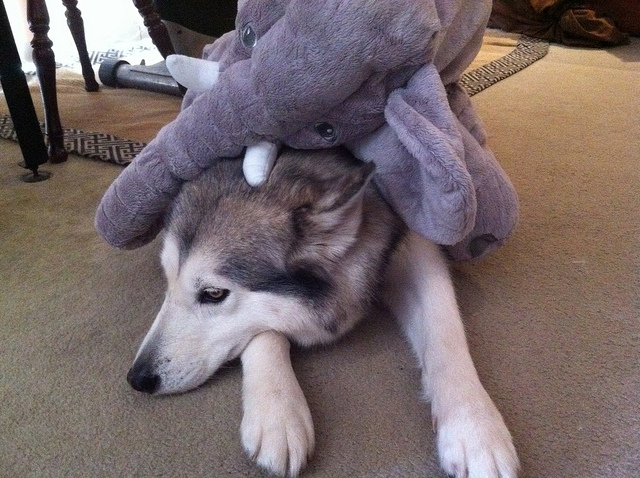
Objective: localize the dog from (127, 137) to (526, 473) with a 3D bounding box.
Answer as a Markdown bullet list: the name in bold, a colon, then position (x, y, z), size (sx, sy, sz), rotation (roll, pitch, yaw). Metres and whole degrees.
- **dog**: position (0.009, 0.137, 1.317), size (0.963, 0.558, 0.788), rotation (9, 46, -2)
